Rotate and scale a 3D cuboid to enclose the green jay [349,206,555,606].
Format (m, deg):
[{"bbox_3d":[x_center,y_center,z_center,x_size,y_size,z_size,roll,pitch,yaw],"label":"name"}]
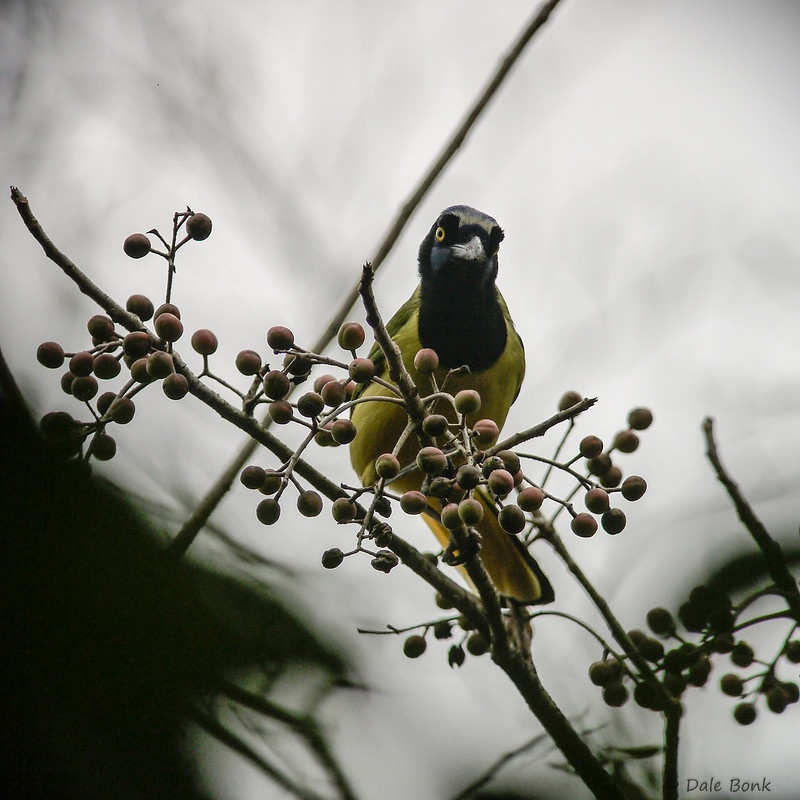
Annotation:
[{"bbox_3d":[0.159,0.124,4.954,0.410,1.417,0.777,0,30,-2],"label":"green jay"}]
